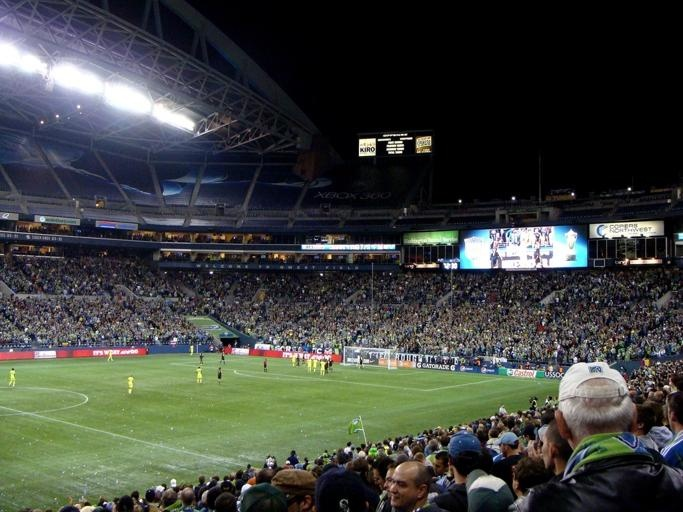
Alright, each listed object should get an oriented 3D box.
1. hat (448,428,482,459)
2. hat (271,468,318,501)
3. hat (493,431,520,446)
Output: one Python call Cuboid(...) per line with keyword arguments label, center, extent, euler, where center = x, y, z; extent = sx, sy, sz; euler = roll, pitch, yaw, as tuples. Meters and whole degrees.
Cuboid(label="hat", center=(3.498, 5.340, 19.707), extent=(0.870, 0.725, 0.396), euler=(1, -11, 5))
Cuboid(label="hat", center=(-1.265, 5.963, 18.342), extent=(0.975, 0.286, 0.693), euler=(6, -5, 32))
Cuboid(label="hat", center=(5.242, 5.712, 21.841), extent=(0.492, 0.389, 0.629), euler=(2, -11, 3))
